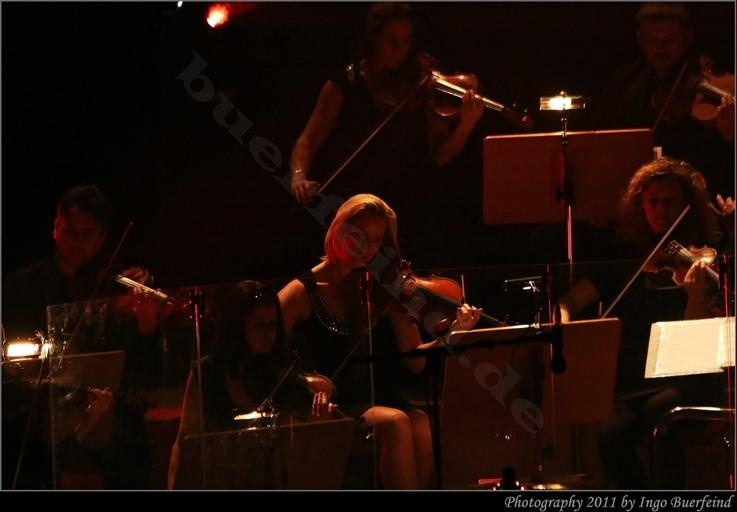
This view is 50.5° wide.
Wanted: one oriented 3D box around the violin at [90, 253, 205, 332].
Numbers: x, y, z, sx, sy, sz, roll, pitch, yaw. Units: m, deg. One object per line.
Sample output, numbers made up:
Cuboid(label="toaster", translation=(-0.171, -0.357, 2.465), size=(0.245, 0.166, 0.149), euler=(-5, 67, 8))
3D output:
Cuboid(label="violin", translation=(-1.238, 0.217, 4.531), size=(0.769, 0.300, 0.217), euler=(31, 11, 22))

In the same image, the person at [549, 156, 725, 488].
Cuboid(label="person", translation=(1.654, 0.366, 4.315), size=(0.665, 1.711, 0.596), euler=(6, -20, -10))

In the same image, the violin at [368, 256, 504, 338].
Cuboid(label="violin", translation=(0.381, 0.274, 4.444), size=(0.838, 0.339, 0.142), euler=(36, -1, 4))

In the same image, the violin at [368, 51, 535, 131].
Cuboid(label="violin", translation=(0.514, -0.865, 4.304), size=(0.826, 0.334, 0.167), euler=(29, 6, 8))

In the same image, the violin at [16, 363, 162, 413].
Cuboid(label="violin", translation=(-1.617, 0.711, 4.421), size=(0.913, 0.328, 0.111), euler=(-2, -20, 8))

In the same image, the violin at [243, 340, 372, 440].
Cuboid(label="violin", translation=(-0.318, 0.724, 4.223), size=(0.865, 0.356, 0.157), euler=(-23, -13, 7))
